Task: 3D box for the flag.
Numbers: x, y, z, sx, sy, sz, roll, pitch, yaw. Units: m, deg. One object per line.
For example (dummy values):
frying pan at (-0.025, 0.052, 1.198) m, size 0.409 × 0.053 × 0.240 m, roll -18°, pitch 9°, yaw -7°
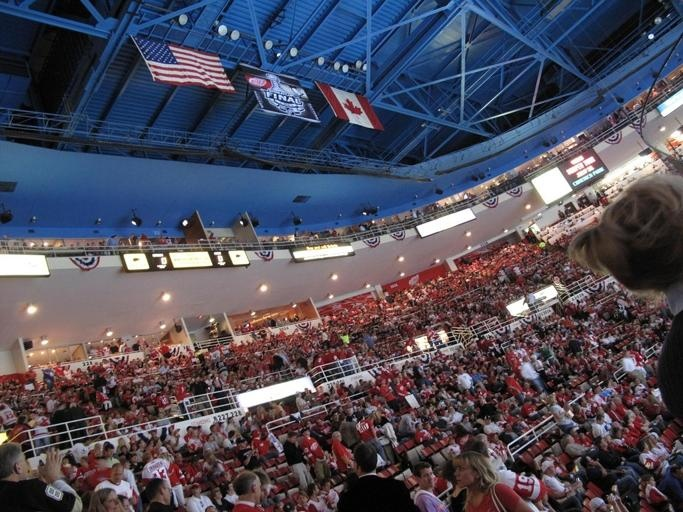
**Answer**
flag at (-6.849, -8.211, 17.669) m, size 4.468 × 2.506 × 0.445 m, roll -3°, pitch -35°, yaw -44°
